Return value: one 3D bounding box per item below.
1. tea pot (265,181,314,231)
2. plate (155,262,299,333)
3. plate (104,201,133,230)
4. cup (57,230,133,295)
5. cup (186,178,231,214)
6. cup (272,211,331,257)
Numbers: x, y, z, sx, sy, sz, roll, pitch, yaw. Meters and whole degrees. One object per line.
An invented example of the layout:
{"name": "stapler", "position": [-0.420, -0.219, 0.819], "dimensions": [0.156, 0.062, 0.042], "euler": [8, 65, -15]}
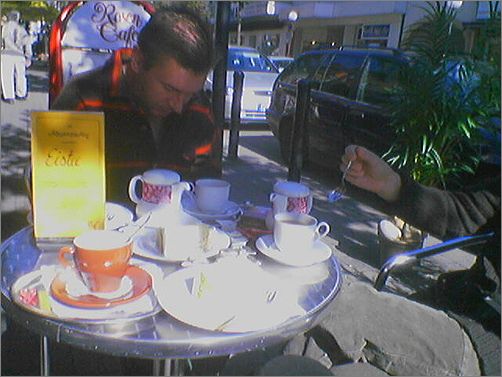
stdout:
{"name": "tea pot", "position": [0.158, 0.074, 1.986], "dimensions": [0.216, 0.212, 0.161], "euler": [-1, 14, -26]}
{"name": "plate", "position": [-0.101, 0.289, 1.527], "dimensions": [0.432, 0.170, 0.431], "euler": [-3, 13, -18]}
{"name": "plate", "position": [-0.556, 0.114, 1.810], "dimensions": [0.096, 0.025, 0.100], "euler": [20, 30, 18]}
{"name": "cup", "position": [-0.462, 0.220, 1.356], "dimensions": [0.210, 0.163, 0.174], "euler": [0, 19, -13]}
{"name": "cup", "position": [-0.199, 0.035, 2.077], "dimensions": [0.224, 0.144, 0.168], "euler": [1, 13, -17]}
{"name": "cup", "position": [0.191, 0.154, 1.768], "dimensions": [0.253, 0.181, 0.173], "euler": [2, 14, -10]}
